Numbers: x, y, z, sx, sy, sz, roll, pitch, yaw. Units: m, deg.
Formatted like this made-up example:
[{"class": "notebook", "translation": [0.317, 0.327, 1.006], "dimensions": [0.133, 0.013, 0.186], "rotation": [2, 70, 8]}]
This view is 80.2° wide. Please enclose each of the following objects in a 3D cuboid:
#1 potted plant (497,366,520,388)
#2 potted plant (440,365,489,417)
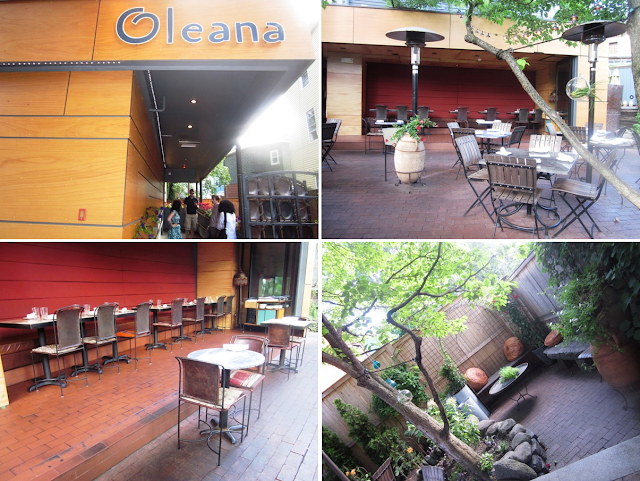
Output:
[{"class": "potted plant", "translation": [2.304, 1.649, 4.612], "dimensions": [0.212, 0.184, 0.209], "rotation": [-5, -25, -13]}, {"class": "potted plant", "translation": [1.699, 1.799, 4.540], "dimensions": [0.337, 0.549, 0.344], "rotation": [-43, 4, -34]}]
